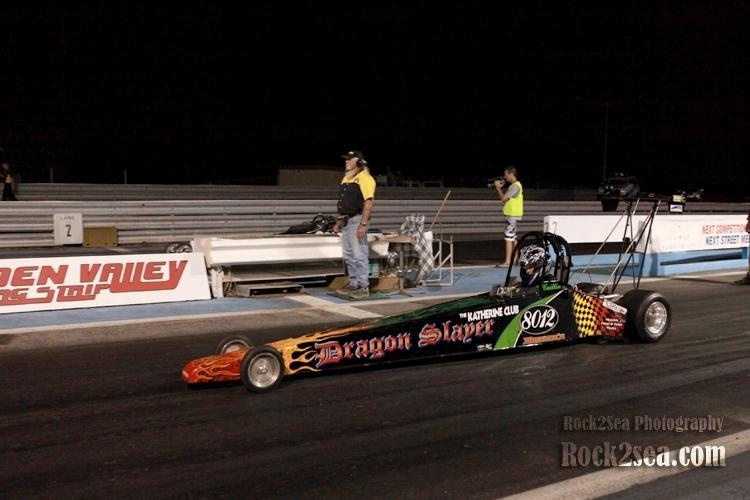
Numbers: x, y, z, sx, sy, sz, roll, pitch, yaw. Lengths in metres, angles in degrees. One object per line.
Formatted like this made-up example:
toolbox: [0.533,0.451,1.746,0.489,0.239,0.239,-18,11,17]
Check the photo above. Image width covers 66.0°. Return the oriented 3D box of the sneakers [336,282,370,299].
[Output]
sneakers: [-0.372,0.740,10.295,0.657,0.237,0.230,5,5,20]

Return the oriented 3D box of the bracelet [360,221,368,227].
bracelet: [-0.193,-0.433,9.694,0.100,0.035,0.089,20,-35,-24]

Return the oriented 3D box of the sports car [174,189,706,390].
sports car: [0.997,0.740,7.286,6.170,1.699,2.196,-3,1,-25]

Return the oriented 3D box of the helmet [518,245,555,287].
helmet: [1.977,0.190,7.349,0.597,0.466,0.431,-7,-3,-32]
